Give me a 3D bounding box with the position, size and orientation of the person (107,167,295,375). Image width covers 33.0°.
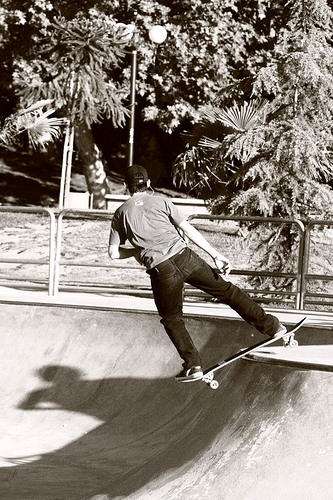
[{"bbox_3d":[0.155,0.122,3.688,0.942,1.288,0.576,11,13,36],"label":"person"}]

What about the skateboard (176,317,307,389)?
[{"bbox_3d":[0.539,0.727,3.942,0.999,0.148,0.209,-33,1,-12],"label":"skateboard"}]
